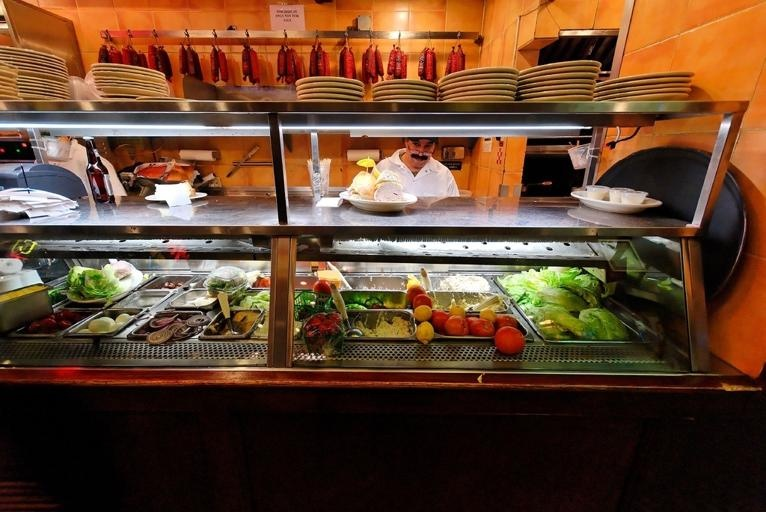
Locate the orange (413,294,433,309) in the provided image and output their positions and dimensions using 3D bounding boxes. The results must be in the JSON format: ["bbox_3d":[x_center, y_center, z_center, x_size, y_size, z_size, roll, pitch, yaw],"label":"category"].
[{"bbox_3d":[0.253,0.295,3.057,0.108,0.082,0.098,16,-12,4],"label":"orange"}]

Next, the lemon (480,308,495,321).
[{"bbox_3d":[0.668,0.374,3.016,0.077,0.072,0.085,38,37,0],"label":"lemon"}]

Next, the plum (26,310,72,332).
[{"bbox_3d":[-2.075,0.408,2.913,0.144,0.042,0.159,-2,15,-6],"label":"plum"}]

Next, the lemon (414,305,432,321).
[{"bbox_3d":[0.232,0.369,3.011,0.134,0.077,0.089,0,14,-9],"label":"lemon"}]

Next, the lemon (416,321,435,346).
[{"bbox_3d":[0.255,0.477,2.874,0.129,0.097,0.144,-7,14,11],"label":"lemon"}]

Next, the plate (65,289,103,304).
[{"bbox_3d":[-1.965,0.255,3.056,0.139,0.028,0.129,-1,13,-36],"label":"plate"}]

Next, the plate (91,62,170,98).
[{"bbox_3d":[-1.441,-1.006,2.671,0.393,0.183,0.236,-7,23,-22],"label":"plate"}]

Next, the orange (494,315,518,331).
[{"bbox_3d":[0.774,0.416,2.953,0.113,0.082,0.098,14,15,13],"label":"orange"}]

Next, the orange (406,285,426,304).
[{"bbox_3d":[0.208,0.265,3.159,0.153,0.114,0.129,-1,-5,24],"label":"orange"}]

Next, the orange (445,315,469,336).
[{"bbox_3d":[0.472,0.441,2.983,0.143,0.109,0.125,-10,-11,-18],"label":"orange"}]

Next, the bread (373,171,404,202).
[{"bbox_3d":[0.031,-0.424,2.882,0.194,0.197,0.070,0,38,-5],"label":"bread"}]
